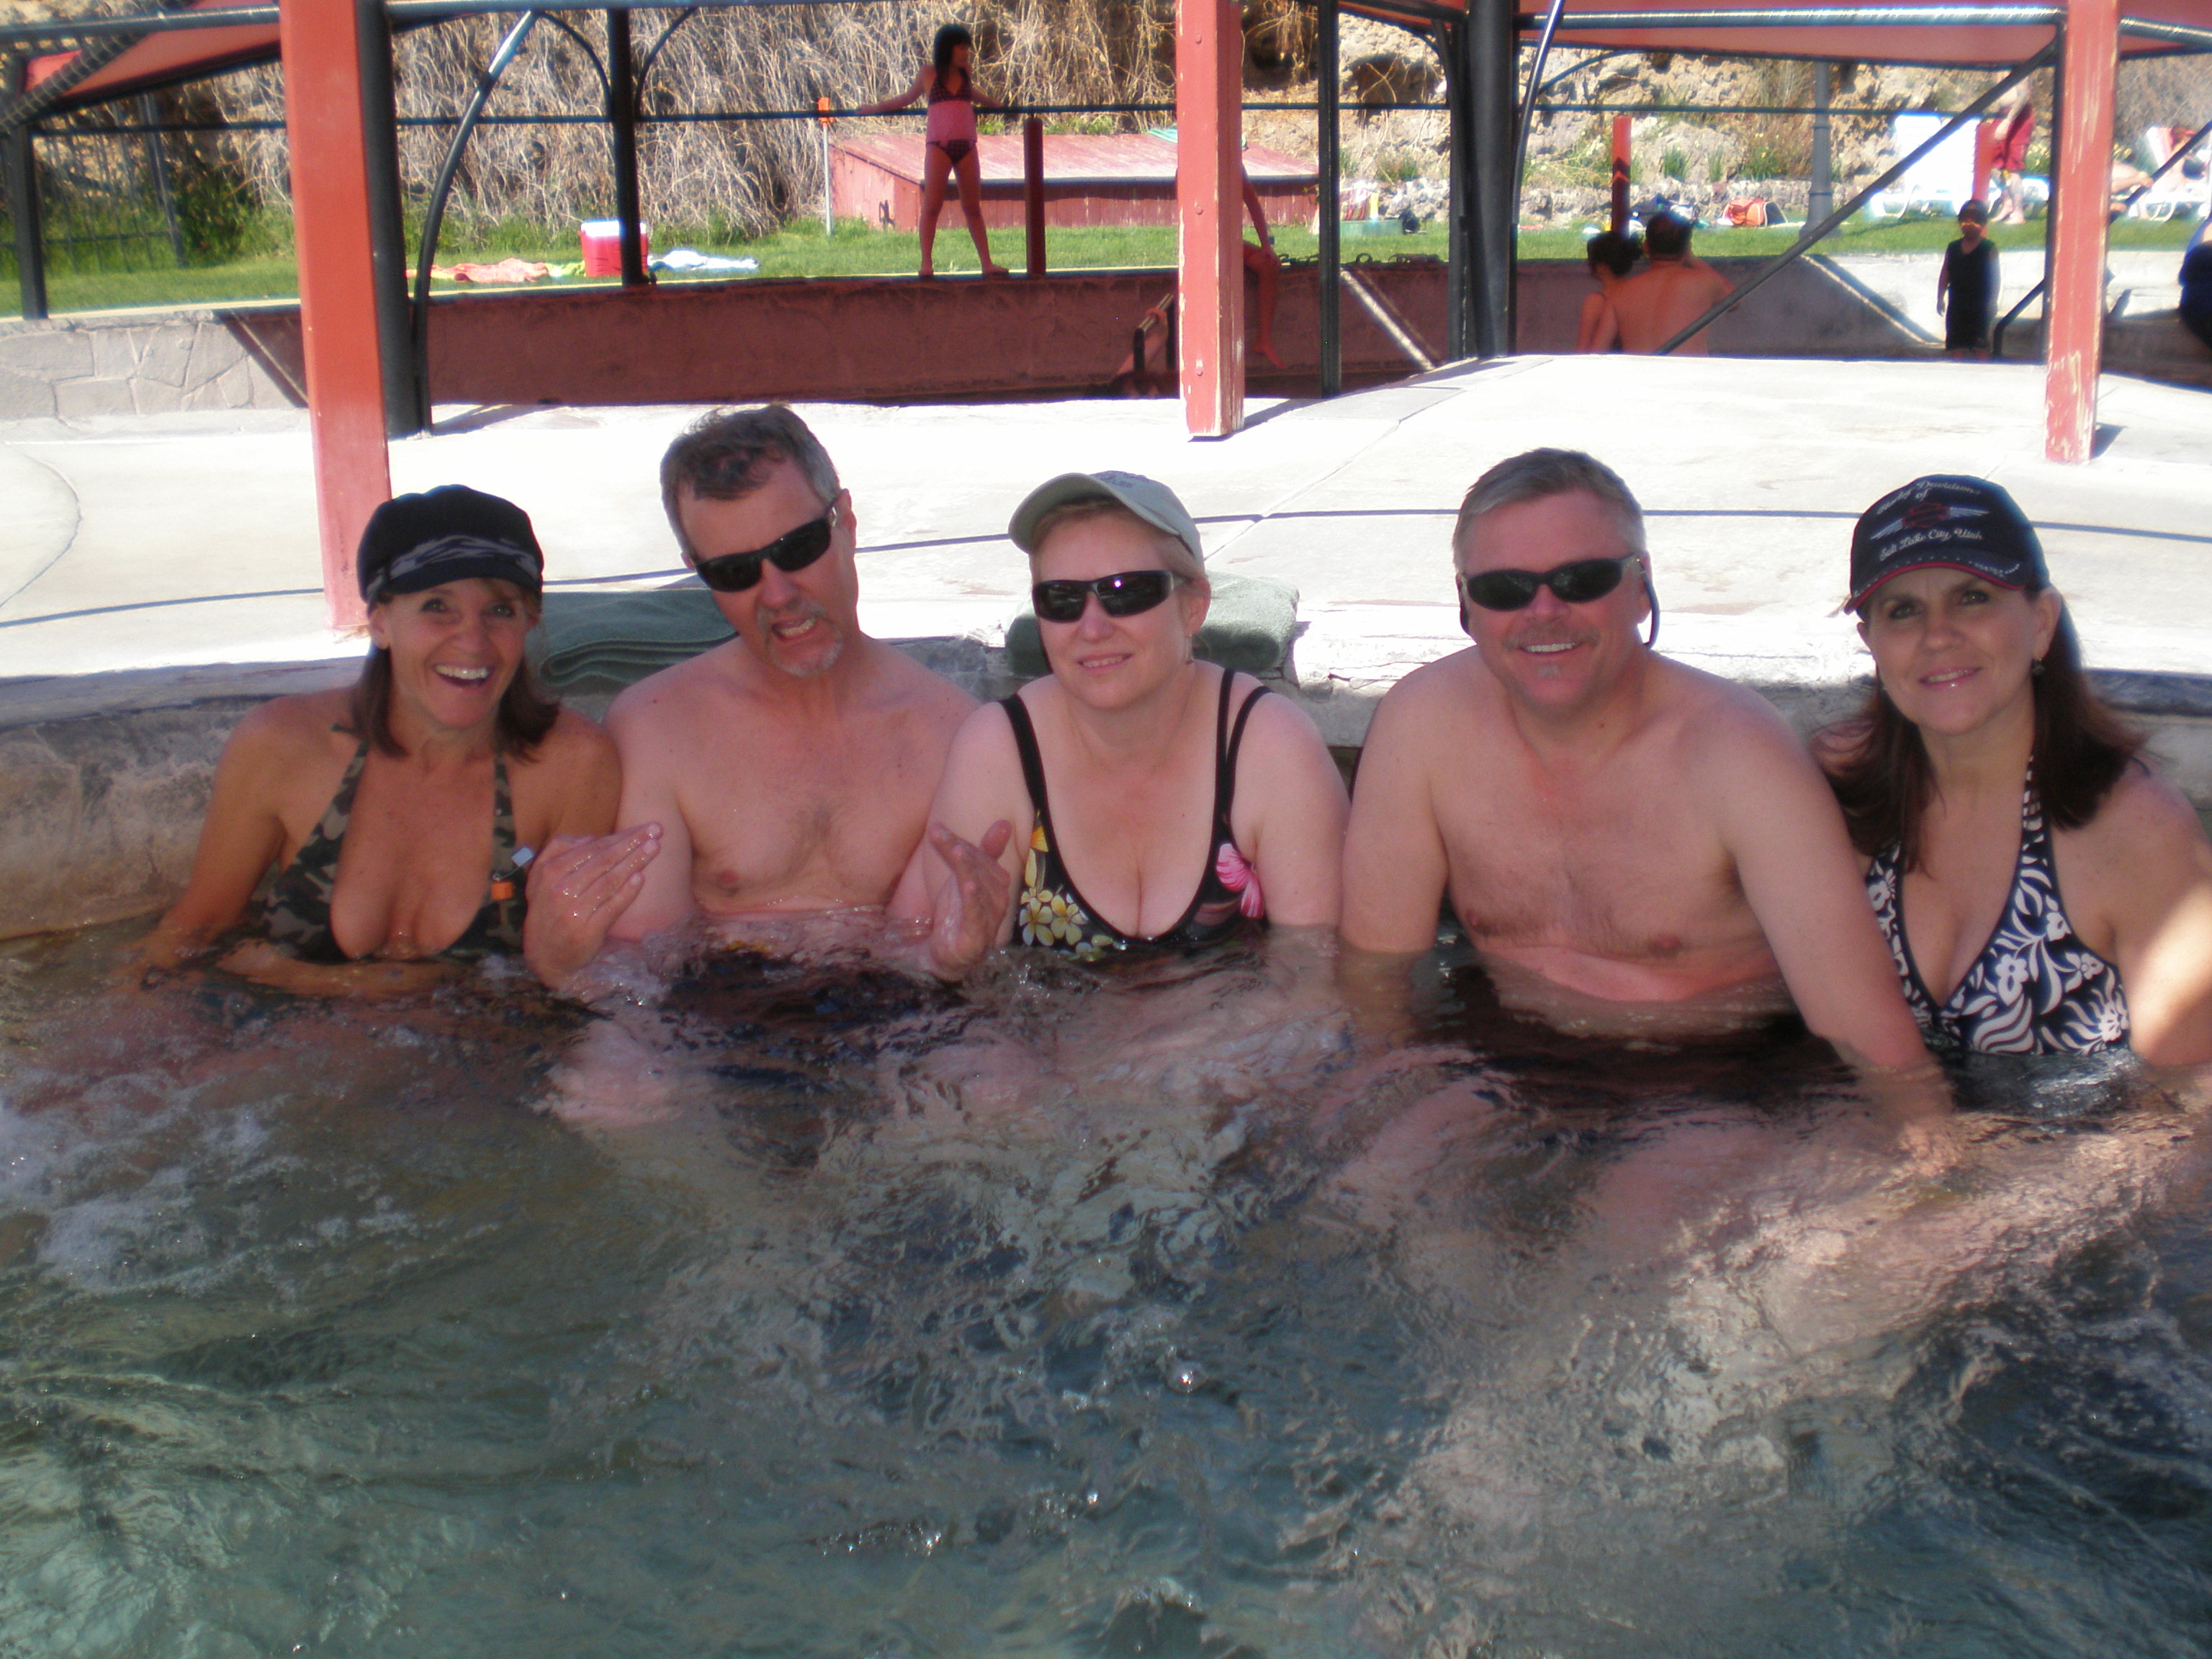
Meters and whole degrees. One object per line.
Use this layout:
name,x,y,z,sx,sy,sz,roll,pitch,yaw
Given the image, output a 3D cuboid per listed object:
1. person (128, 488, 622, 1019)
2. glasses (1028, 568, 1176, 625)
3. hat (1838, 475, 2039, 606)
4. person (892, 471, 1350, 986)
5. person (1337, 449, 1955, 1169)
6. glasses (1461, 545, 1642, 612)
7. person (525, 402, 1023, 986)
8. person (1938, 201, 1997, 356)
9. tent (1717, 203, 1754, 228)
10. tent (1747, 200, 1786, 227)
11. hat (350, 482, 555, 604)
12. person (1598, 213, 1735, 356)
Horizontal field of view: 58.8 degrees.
person,-1.492,-0.175,4.001,0.936,0.989,0.248,-5,18,-1
glasses,-0.002,-0.445,3.714,0.261,0.092,0.087,-4,18,2
hat,1.468,-0.517,3.451,0.319,0.226,0.435,-7,-2,20
person,0.193,-0.237,4.047,0.900,1.085,0.933,3,20,9
person,0.921,-0.025,3.737,1.295,1.468,0.854,0,31,31
glasses,0.795,-0.441,3.500,0.277,0.091,0.085,0,18,12
person,-0.696,-0.367,4.449,1.081,1.571,1.142,0,20,-14
person,6.142,-3.906,13.872,0.358,0.989,1.247,4,20,23
tent,8.440,-8.186,26.029,0.485,0.314,0.665,9,18,15
tent,8.699,-8.059,25.697,0.478,0.202,0.673,1,31,10
hat,-1.303,-0.558,3.875,0.341,0.214,0.227,-12,19,-21
person,3.324,-3.246,11.586,0.540,0.752,0.783,-15,21,-30
